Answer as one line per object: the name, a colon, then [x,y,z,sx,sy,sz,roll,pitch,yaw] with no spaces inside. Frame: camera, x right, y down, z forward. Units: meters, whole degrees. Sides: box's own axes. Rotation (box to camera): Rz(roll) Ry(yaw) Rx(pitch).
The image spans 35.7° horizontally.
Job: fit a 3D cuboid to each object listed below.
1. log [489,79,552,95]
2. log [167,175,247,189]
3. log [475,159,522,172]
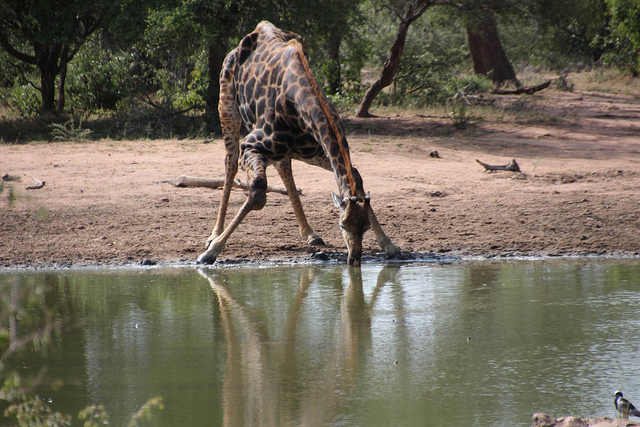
log: [7.287,-4.526,36.367,3.095,0.424,0.641,-16,-17,-48]
log: [-2.624,-0.669,22.631,1.510,0.226,0.258,4,8,3]
log: [4.293,-1.088,23.786,0.978,0.302,0.474,-3,5,5]
